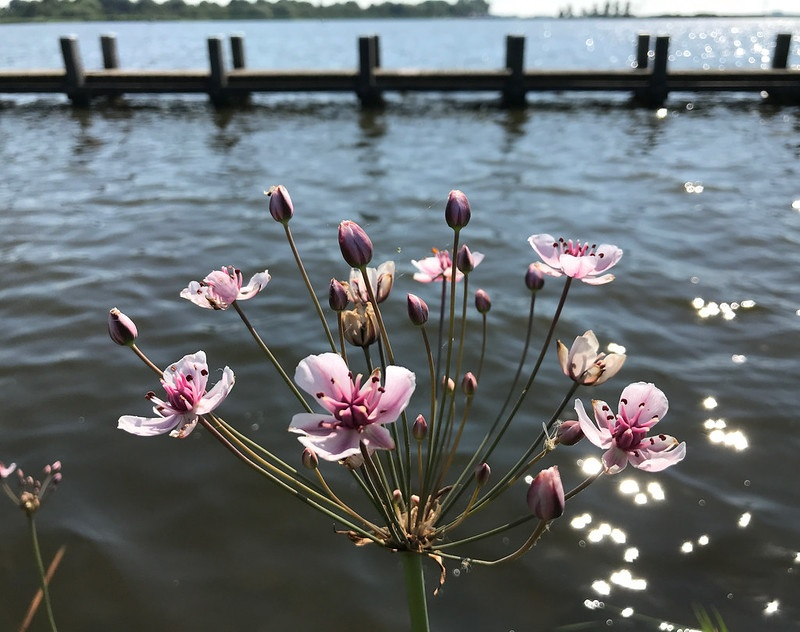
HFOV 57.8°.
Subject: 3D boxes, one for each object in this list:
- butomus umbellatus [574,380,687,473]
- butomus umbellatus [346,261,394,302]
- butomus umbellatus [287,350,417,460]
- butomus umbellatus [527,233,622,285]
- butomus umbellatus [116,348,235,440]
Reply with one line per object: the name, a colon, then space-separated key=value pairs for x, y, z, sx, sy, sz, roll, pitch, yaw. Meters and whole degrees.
butomus umbellatus: x=0.803 y=0.406 z=2.592 sx=0.416 sy=0.163 sz=0.388 roll=5 pitch=31 yaw=-11
butomus umbellatus: x=-0.115 y=-0.130 z=2.825 sx=0.168 sy=0.168 sz=0.159 roll=-20 pitch=10 yaw=-14
butomus umbellatus: x=-0.171 y=0.341 z=2.439 sx=0.409 sy=0.391 sz=0.342 roll=-9 pitch=28 yaw=-17
butomus umbellatus: x=0.675 y=-0.220 z=2.804 sx=0.290 sy=0.111 sz=0.279 roll=10 pitch=16 yaw=0
butomus umbellatus: x=-0.783 y=0.280 z=2.613 sx=0.332 sy=0.208 sz=0.403 roll=-7 pitch=16 yaw=28
